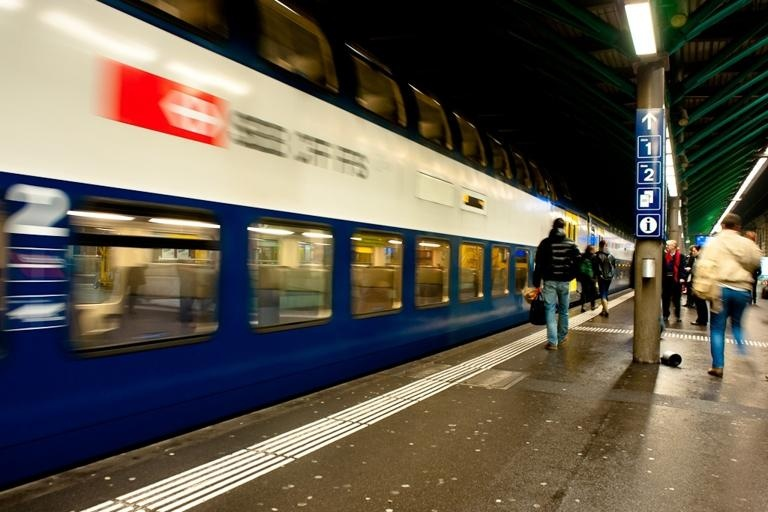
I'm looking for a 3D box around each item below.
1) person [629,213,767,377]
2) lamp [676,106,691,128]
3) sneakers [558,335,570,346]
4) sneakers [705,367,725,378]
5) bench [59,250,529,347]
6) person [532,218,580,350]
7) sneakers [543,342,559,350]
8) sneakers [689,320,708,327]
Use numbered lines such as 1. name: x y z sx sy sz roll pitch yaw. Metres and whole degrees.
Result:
1. person: 4.774 0.699 7.547 0.836 2.011 0.382 2 6 13
2. lamp: 8.347 -3.925 14.999 0.309 0.648 1.335 4 6 27
3. sneakers: 3.373 1.581 10.054 0.136 0.157 0.402 -7 -7 26
4. sneakers: 4.704 1.647 7.610 0.106 0.180 0.198 -2 7 -5
5. bench: -0.310 0.481 8.015 1.126 1.095 8.386 0 1 41
6. person: 3.163 0.491 9.864 0.953 2.269 0.784 4 -5 -8
7. sneakers: 2.940 1.615 9.537 0.114 0.082 0.204 0 -5 -20
8. sneakers: 7.465 1.582 12.722 0.136 0.152 0.387 1 3 13
